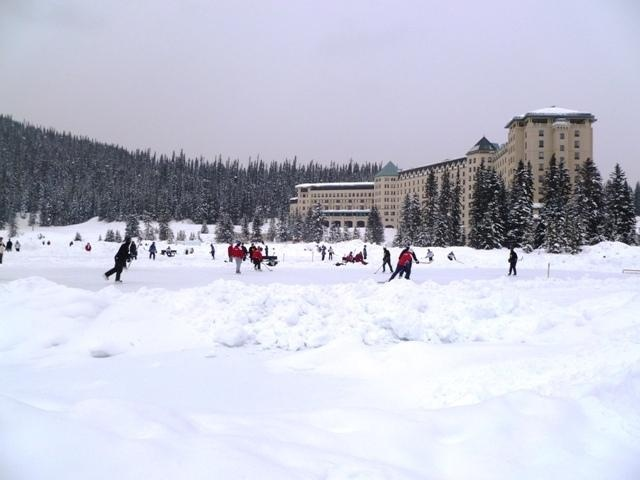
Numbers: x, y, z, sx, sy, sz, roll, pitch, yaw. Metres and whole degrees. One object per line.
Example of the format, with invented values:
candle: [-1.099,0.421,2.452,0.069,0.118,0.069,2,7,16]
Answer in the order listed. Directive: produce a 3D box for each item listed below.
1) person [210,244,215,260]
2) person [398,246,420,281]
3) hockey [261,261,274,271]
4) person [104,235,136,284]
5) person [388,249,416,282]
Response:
person: [-7.036,0.769,44.604,0.225,0.932,1.522,1,-1,-13]
person: [3.647,0.867,27.112,0.777,1.313,0.710,15,31,40]
hockey: [-2.855,1.462,37.582,0.456,0.195,0.640,23,-1,-12]
person: [-7.639,0.752,26.162,0.968,1.780,0.800,4,-9,9]
person: [3.397,0.967,27.066,1.092,1.530,0.688,10,4,1]
